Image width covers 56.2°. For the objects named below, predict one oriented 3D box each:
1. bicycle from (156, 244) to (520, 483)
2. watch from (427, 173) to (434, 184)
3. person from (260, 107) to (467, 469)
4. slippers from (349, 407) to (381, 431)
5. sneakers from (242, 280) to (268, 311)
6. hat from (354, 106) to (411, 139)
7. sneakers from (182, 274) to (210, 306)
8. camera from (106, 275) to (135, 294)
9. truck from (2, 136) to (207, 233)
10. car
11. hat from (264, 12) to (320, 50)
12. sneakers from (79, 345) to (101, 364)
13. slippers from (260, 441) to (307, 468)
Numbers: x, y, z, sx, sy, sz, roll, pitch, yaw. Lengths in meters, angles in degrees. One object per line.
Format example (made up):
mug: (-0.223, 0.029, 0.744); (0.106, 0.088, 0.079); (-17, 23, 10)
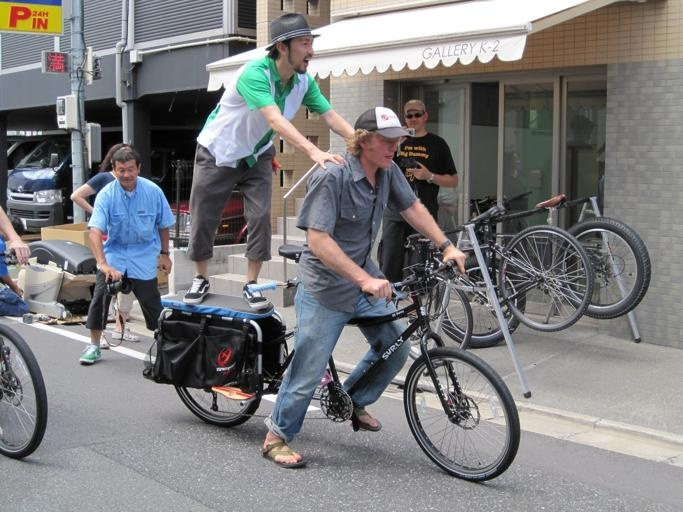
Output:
bicycle: (-0.063, 0.711, 5.266); (3.065, 1.550, 1.335); (4, 11, 22)
watch: (1.078, -0.922, 7.708); (0.065, 0.102, 0.089); (4, 24, 4)
person: (0.061, 0.251, 4.407); (1.242, 2.482, 0.737); (-1, 8, -8)
slippers: (0.143, 1.229, 4.798); (0.117, 0.128, 0.307); (-5, 1, -41)
sneakers: (-0.682, 0.306, 5.028); (0.110, 0.128, 0.311); (-7, 13, -24)
hat: (0.267, -0.866, 4.192); (0.293, 0.165, 0.204); (4, 12, 25)
sneakers: (-1.151, 0.284, 5.096); (0.105, 0.138, 0.314); (4, 9, 6)
camera: (-2.360, 0.327, 6.844); (0.195, 0.206, 0.084); (-11, -21, 31)
truck: (-7.794, -1.984, 20.010); (3.594, 3.085, 5.405); (3, 6, 41)
car: (-2.439, -0.784, 12.324); (1.194, 1.079, 1.803); (3, 3, 42)
hat: (-0.397, -1.628, 4.783); (0.293, 0.161, 0.286); (-13, 12, 24)
sneakers: (-2.788, 1.096, 7.120); (0.118, 0.143, 0.309); (1, -2, 5)
slippers: (-0.409, 1.410, 4.518); (0.138, 0.135, 0.327); (-9, 9, -43)
